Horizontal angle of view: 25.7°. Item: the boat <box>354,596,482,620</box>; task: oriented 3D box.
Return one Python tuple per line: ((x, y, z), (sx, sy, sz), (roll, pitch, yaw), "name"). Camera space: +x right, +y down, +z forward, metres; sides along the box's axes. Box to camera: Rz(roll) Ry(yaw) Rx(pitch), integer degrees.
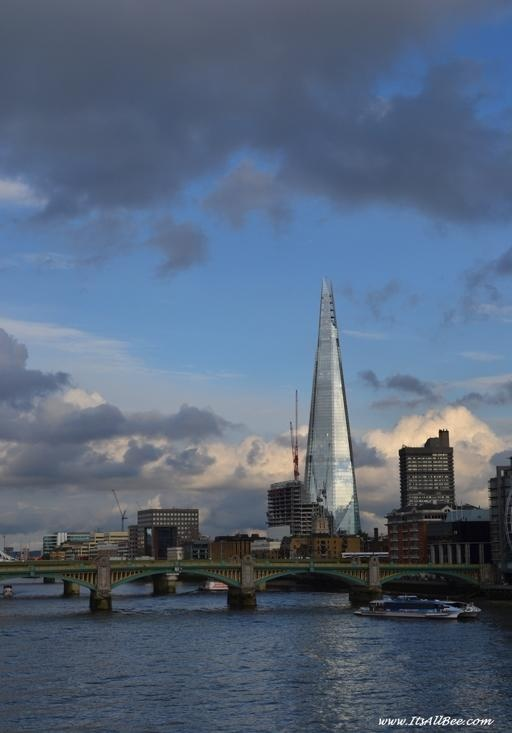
((18.950, 28.111, 131.278), (13.878, 2.765, 7.496), (-11, -16, 38), "boat")
